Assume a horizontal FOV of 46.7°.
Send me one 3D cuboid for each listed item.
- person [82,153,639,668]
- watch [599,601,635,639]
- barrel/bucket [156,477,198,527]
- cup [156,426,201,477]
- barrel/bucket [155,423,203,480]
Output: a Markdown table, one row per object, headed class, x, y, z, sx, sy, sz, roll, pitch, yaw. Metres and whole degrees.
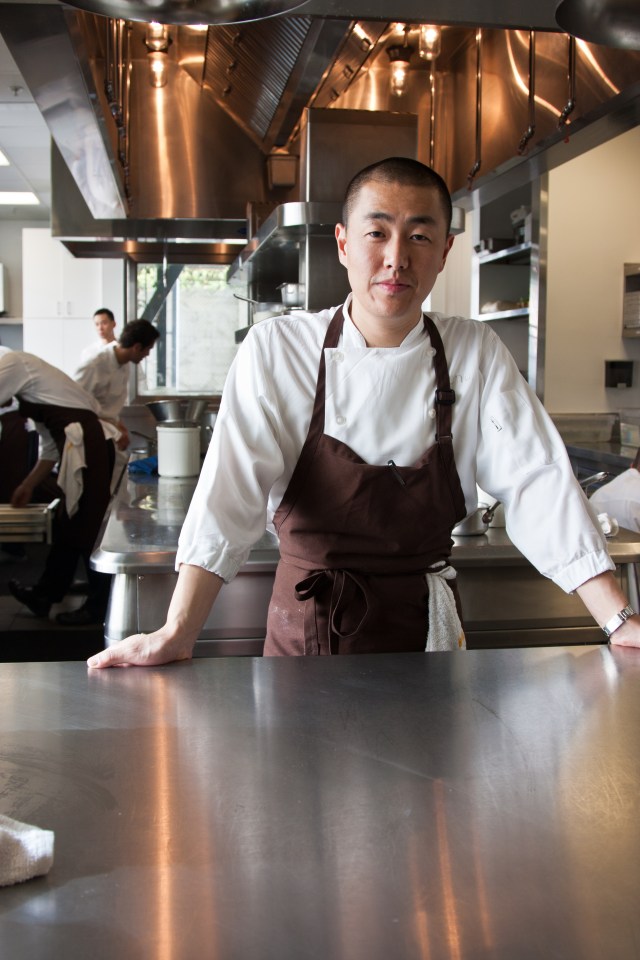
| class | x | y | z | sx | sy | sz | roll | pitch | yaw |
| --- | --- | --- | --- | --- | --- | --- | --- | --- | --- |
| person | 0.066 | -0.086 | 1.117 | 0.729 | 0.781 | 0.343 | 0 | 2 | -7 |
| watch | 0.413 | 0.197 | 1.026 | 0.018 | 0.045 | 0.046 | 46 | 26 | 11 |
| barrel/bucket | -0.459 | 0.069 | 2.316 | 0.161 | 0.177 | 0.158 | 2 | 13 | -1 |
| cup | -0.544 | -0.119 | 2.911 | 0.198 | 0.199 | 0.187 | 1 | 9 | 0 |
| barrel/bucket | -0.578 | -0.103 | 2.896 | 0.211 | 0.194 | 0.168 | 2 | 4 | 29 |
